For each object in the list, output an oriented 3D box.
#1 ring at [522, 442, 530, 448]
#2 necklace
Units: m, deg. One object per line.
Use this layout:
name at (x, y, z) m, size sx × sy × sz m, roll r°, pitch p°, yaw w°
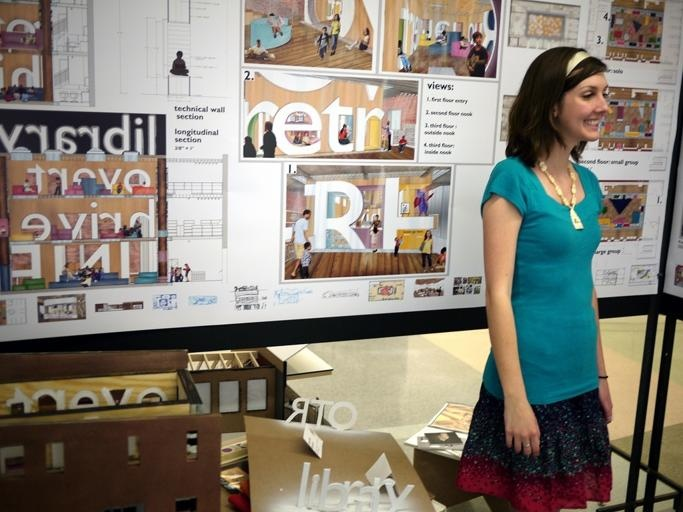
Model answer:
ring at (0.509, 0.521, 1.625) m, size 0.015 × 0.012 × 0.020 m, roll 0°, pitch 0°, yaw 8°
necklace at (0.627, -0.163, 1.705) m, size 0.098 × 0.226 × 0.029 m, roll -5°, pitch -23°, yaw -14°
